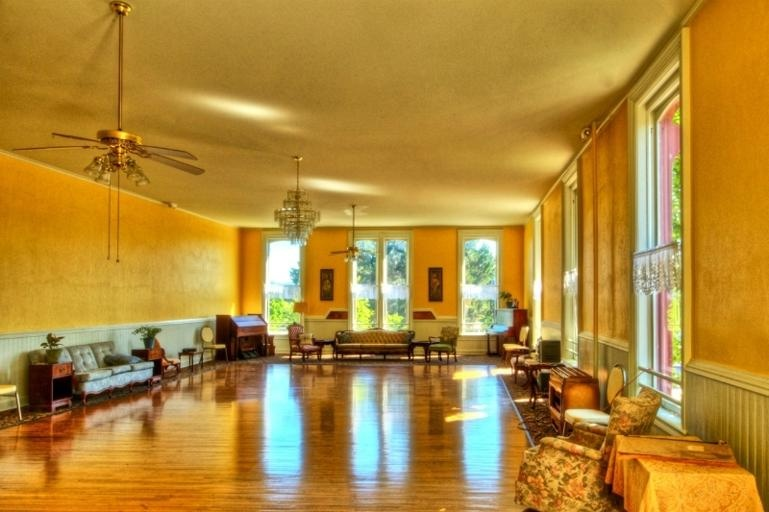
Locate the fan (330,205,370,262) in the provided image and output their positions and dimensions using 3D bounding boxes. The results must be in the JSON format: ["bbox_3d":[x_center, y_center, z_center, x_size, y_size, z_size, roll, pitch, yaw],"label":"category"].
[{"bbox_3d":[-0.776,-0.605,14.356,0.997,1.373,0.992,-11,19,-32],"label":"fan"}]

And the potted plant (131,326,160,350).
[{"bbox_3d":[-4.900,1.683,11.850,0.518,0.334,0.459,4,-10,-31],"label":"potted plant"}]

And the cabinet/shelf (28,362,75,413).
[{"bbox_3d":[-5.477,2.096,9.300,0.563,0.743,0.520,-3,-6,6],"label":"cabinet/shelf"}]

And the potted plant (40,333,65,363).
[{"bbox_3d":[-5.586,1.540,9.556,0.485,0.483,0.470,6,-11,-42],"label":"potted plant"}]

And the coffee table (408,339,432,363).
[{"bbox_3d":[0.957,2.457,14.983,0.632,0.429,0.578,-1,-14,11],"label":"coffee table"}]

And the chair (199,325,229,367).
[{"bbox_3d":[-4.378,2.189,14.626,0.680,0.964,1.093,-1,-6,-13],"label":"chair"}]

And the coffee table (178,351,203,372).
[{"bbox_3d":[-4.600,2.424,13.659,0.602,0.525,0.481,-1,-3,26],"label":"coffee table"}]

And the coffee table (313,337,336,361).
[{"bbox_3d":[-1.607,2.460,15.369,0.693,0.461,0.643,1,-7,-7],"label":"coffee table"}]

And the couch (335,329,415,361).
[{"bbox_3d":[-0.271,2.357,15.486,2.147,0.794,1.114,-2,-6,1],"label":"couch"}]

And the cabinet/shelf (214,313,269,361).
[{"bbox_3d":[-3.899,2.126,15.634,1.071,1.330,1.811,-3,-7,20],"label":"cabinet/shelf"}]

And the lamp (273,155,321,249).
[{"bbox_3d":[-1.522,-0.871,9.920,0.696,1.348,1.549,-1,-6,-10],"label":"lamp"}]

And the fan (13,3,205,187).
[{"bbox_3d":[-3.234,-1.947,6.703,1.586,1.674,1.690,0,-5,33],"label":"fan"}]
